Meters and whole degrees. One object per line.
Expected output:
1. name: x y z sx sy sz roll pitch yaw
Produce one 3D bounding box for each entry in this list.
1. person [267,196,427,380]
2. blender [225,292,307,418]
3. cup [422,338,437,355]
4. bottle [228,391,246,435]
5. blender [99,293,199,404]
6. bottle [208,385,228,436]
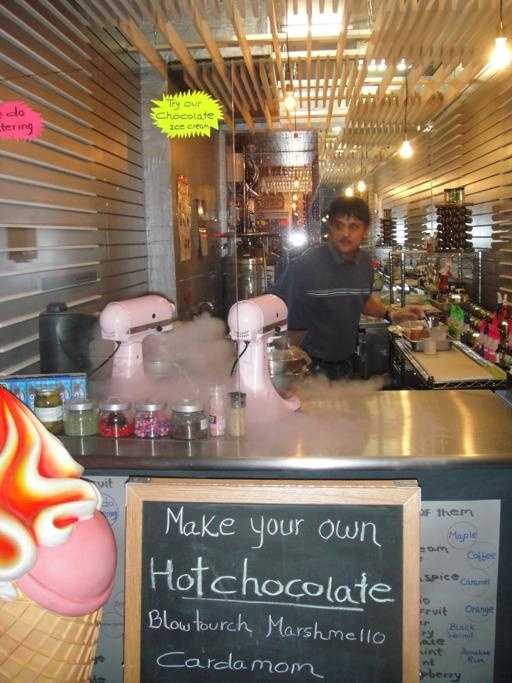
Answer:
1. person: 0.350 -0.263 2.669 0.615 0.899 0.210 -6 8 -35
2. blender: 0.045 0.047 1.766 0.255 0.385 0.148 -8 9 -42
3. cup: 1.089 0.043 3.408 0.082 0.091 0.103 0 1 7
4. bottle: -0.057 0.216 1.596 0.048 0.121 0.098 -2 7 -2
5. blender: -0.366 -0.007 1.995 0.347 0.385 0.396 10 21 35
6. bottle: -0.117 0.211 1.614 0.052 0.141 0.102 -2 7 -5
